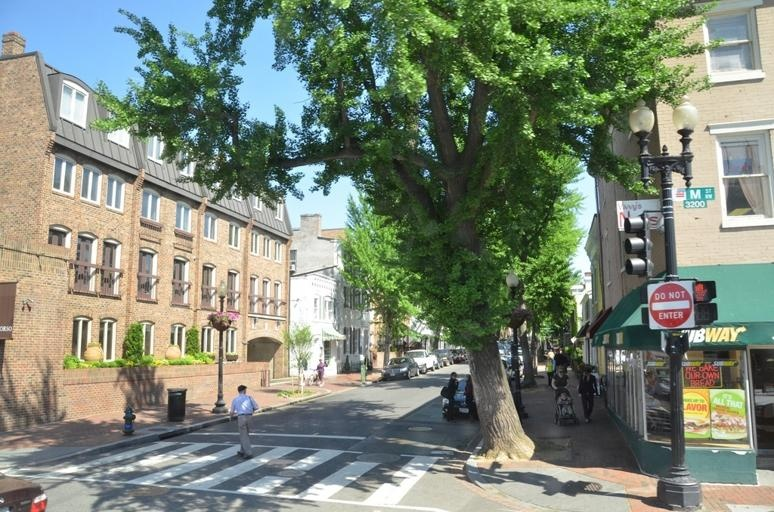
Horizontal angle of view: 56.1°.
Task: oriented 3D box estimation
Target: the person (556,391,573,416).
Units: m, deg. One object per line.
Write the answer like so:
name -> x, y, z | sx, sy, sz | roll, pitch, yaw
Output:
person -> 6.672, 5.424, 27.040 | 0.541, 0.823, 0.293 | -5, -13, 13

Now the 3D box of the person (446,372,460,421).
person -> 2.650, 5.738, 29.978 | 0.488, 1.836, 1.204 | -4, -11, 2

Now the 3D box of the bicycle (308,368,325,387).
bicycle -> -4.436, 7.574, 44.796 | 0.633, 0.706, 1.221 | -4, -21, 5

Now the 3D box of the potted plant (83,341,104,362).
potted plant -> -13.351, 4.282, 32.582 | 0.907, 0.804, 0.690 | 11, -17, -29

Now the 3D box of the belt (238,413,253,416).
belt -> -4.543, 5.006, 23.307 | 0.172, 0.132, 0.440 | -14, -16, 42

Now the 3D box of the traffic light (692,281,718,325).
traffic light -> 8.243, 1.169, 18.745 | 0.594, 1.150, 0.340 | -8, -12, 18

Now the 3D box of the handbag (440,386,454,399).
handbag -> 2.443, 5.542, 29.910 | 0.461, 0.495, 0.285 | -11, -13, 32

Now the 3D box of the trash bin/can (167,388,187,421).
trash bin/can -> -8.474, 5.891, 28.993 | 0.626, 1.329, 0.509 | 2, -12, -26

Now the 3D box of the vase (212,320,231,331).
vase -> -7.472, 2.942, 32.166 | 0.735, 0.405, 0.571 | 7, -14, -38

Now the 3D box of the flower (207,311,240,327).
flower -> -7.543, 2.813, 32.554 | 1.273, 0.790, 1.229 | 6, -10, -33

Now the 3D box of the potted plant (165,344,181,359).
potted plant -> -10.988, 4.835, 36.931 | 0.691, 0.739, 0.666 | 4, -15, -24

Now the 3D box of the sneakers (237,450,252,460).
sneakers -> -4.606, 6.293, 23.251 | 0.487, 0.194, 0.183 | -9, -8, 40

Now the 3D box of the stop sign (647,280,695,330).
stop sign -> 7.461, 1.234, 18.845 | 1.317, 1.361, 0.188 | -2, -8, 21
